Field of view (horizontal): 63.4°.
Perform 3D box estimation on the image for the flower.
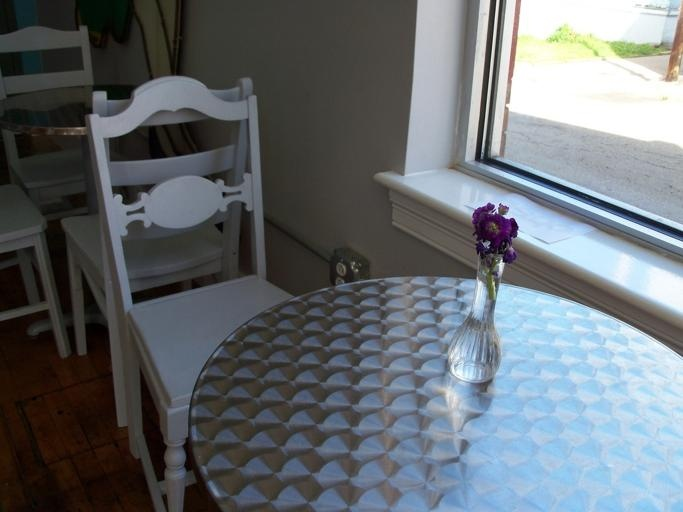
[{"bbox_3d":[0.284,-0.023,1.027,0.082,0.179,0.142,9,26,17],"label":"flower"}]
